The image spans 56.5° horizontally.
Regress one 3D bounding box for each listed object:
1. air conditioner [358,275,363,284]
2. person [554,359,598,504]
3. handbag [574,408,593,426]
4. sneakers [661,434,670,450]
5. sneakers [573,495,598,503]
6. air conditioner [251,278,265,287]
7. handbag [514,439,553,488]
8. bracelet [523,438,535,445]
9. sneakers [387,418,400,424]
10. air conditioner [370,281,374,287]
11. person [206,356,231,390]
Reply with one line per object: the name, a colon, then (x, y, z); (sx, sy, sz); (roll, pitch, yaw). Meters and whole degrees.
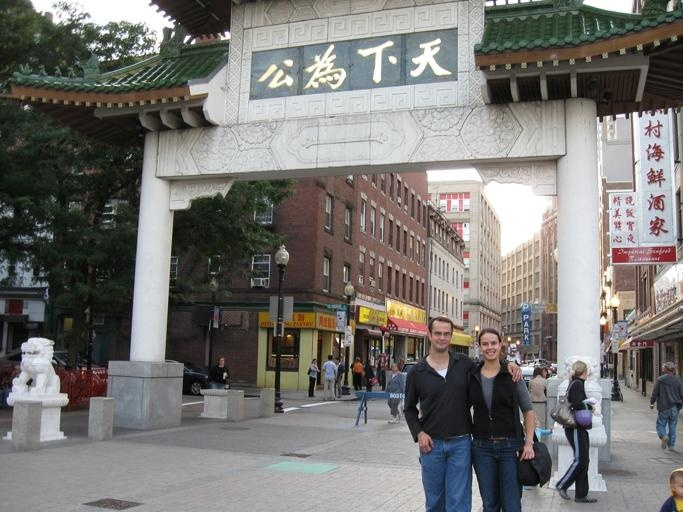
air conditioner: (1.258, 1.571, 42.881); (0.255, 0.495, 0.490); (-6, -8, 24)
person: (4.003, 2.993, 10.851); (0.592, 2.336, 0.406); (-4, -7, 22)
handbag: (4.112, 2.723, 10.741); (0.229, 0.234, 0.278); (2, -15, 0)
sneakers: (8.217, 4.697, 15.998); (0.151, 0.422, 0.172); (0, 1, 1)
sneakers: (4.144, 4.106, 10.782); (0.392, 0.176, 0.140); (-2, -1, 6)
air conditioner: (-4.868, 1.532, 37.129); (0.725, 0.469, 0.511); (0, -1, 12)
handbag: (2.437, 2.435, 8.001); (0.386, 0.665, 0.750); (-5, -12, 31)
bracelet: (2.337, 2.288, 7.880); (0.082, 0.110, 0.111); (3, -7, -25)
sneakers: (1.807, 5.590, 21.599); (0.183, 0.259, 0.579); (-5, -15, 23)
air conditioner: (2.132, 1.932, 44.671); (0.164, 0.317, 0.321); (-11, -19, 27)
person: (-4.559, 4.333, 23.459); (0.659, 1.076, 2.095); (1, -8, -13)
